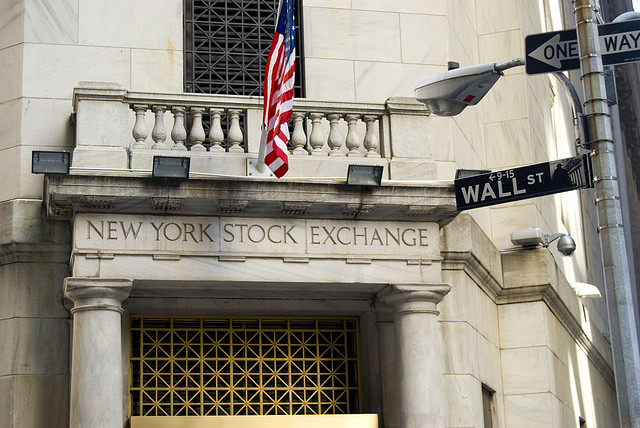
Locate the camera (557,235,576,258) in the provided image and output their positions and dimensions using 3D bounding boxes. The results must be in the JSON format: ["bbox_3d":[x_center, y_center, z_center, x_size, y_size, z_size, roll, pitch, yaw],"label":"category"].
[{"bbox_3d":[5.712,0.699,39.822,0.393,0.549,0.463,-5,-23,7],"label":"camera"}]
